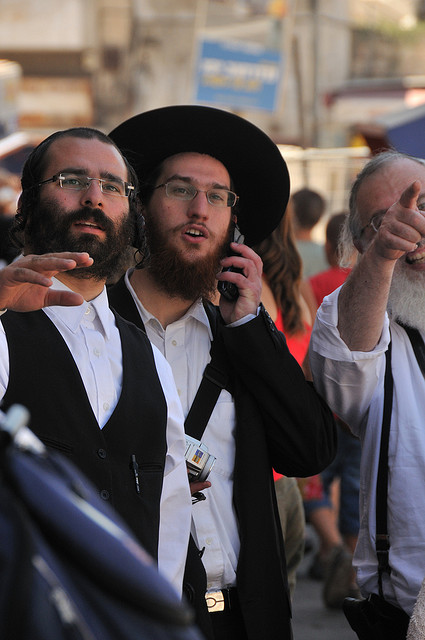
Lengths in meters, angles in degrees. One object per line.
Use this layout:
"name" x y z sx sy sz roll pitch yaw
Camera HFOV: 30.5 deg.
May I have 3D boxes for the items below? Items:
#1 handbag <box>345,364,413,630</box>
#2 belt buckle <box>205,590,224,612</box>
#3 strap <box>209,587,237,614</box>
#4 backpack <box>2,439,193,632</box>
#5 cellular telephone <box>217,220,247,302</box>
"handbag" 0.494 0.609 2.448 0.189 0.710 0.375 -4 17 10
"belt buckle" 0.008 0.853 2.381 0.058 0.062 0.035 -11 17 -20
"strap" 0.053 0.858 2.392 0.078 0.063 0.019 0 -11 -13
"backpack" -0.082 0.231 0.834 0.227 0.209 0.063 13 28 40
"cellular telephone" 0.070 -0.197 2.800 0.116 0.308 0.111 4 16 3
